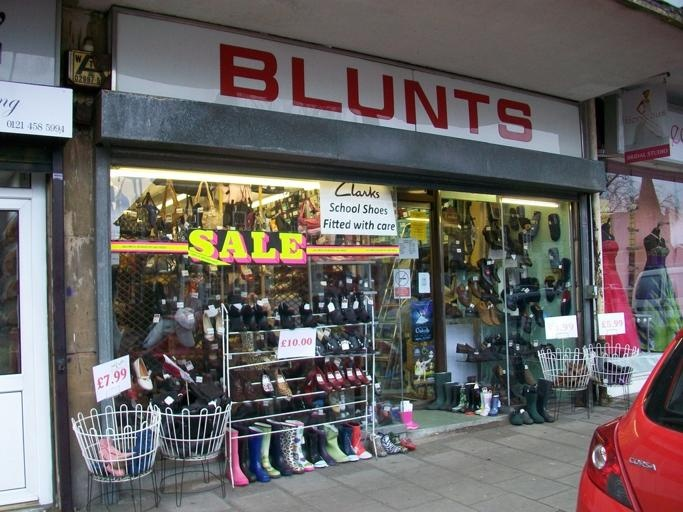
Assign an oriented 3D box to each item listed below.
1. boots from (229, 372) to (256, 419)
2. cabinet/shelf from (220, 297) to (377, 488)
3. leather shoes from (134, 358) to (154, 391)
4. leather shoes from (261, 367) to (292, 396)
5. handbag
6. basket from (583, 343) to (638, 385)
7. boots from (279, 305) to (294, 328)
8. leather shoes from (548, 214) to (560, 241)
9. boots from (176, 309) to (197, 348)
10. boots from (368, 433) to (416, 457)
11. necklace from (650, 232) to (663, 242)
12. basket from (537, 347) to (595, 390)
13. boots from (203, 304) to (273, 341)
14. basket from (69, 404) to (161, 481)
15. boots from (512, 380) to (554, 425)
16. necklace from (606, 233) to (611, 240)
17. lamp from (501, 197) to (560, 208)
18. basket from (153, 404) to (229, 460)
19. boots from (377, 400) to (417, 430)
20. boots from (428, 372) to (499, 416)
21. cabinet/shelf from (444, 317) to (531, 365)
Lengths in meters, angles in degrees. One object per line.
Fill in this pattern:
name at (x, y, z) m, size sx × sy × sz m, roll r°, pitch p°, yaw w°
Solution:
boots at (-1.167, 1.589, 6.955) m, size 0.194 × 0.240 × 0.556 m, roll -5°, pitch 23°, yaw -30°
cabinet/shelf at (-0.570, 1.629, 7.052) m, size 1.771 × 1.854 × 0.588 m, roll -2°, pitch -1°, yaw -35°
leather shoes at (-2.147, 1.327, 6.634) m, size 0.139 × 0.140 × 0.325 m, roll -4°, pitch 18°, yaw -26°
leather shoes at (-0.772, 1.507, 7.120) m, size 0.248 × 0.359 × 0.123 m, roll -16°, pitch -23°, yaw -39°
handbag at (-1.388, -0.514, 6.966) m, size 2.298 × 0.655 × 0.228 m, roll -1°, pitch 6°, yaw -23°
basket at (3.955, 1.592, 8.897) m, size 0.729 × 0.501 × 0.717 m, roll 13°, pitch -17°, yaw -31°
boots at (-0.662, 0.725, 7.251) m, size 0.119 × 0.342 × 0.146 m, roll -11°, pitch -15°, yaw -18°
leather shoes at (3.293, -0.426, 9.456) m, size 0.193 × 0.421 × 0.116 m, roll 1°, pitch -3°, yaw -39°
boots at (-1.748, 0.812, 6.831) m, size 0.235 × 0.389 × 0.132 m, roll -7°, pitch 0°, yaw -40°
boots at (0.569, 2.259, 7.416) m, size 0.654 × 0.299 × 0.231 m, roll -1°, pitch 2°, yaw -4°
necklace at (5.540, -0.318, 10.711) m, size 0.193 × 0.140 × 0.119 m, roll 3°, pitch -1°, yaw -20°
basket at (3.272, 1.606, 8.820) m, size 0.724 × 0.564 × 0.718 m, roll -4°, pitch 0°, yaw -22°
boots at (-1.188, 0.743, 6.983) m, size 0.586 × 0.414 × 0.215 m, roll -8°, pitch 18°, yaw -30°
basket at (-2.201, 1.843, 5.994) m, size 0.749 × 0.580 × 0.806 m, roll 1°, pitch 1°, yaw 13°
boots at (2.628, 2.013, 8.700) m, size 0.657 × 0.546 × 0.654 m, roll 0°, pitch 6°, yaw -8°
necklace at (4.474, -0.309, 10.219) m, size 0.057 × 0.080 × 0.023 m, roll -1°, pitch -8°, yaw -12°
lamp at (2.874, -0.800, 9.265) m, size 1.115 × 0.145 × 0.070 m, roll -2°, pitch 6°, yaw -26°
basket at (-1.529, 1.803, 6.341) m, size 0.733 × 0.523 × 0.745 m, roll 1°, pitch -5°, yaw 45°
boots at (0.719, 2.033, 7.773) m, size 0.637 × 0.357 × 0.260 m, roll -3°, pitch 7°, yaw -34°
boots at (1.758, 1.986, 8.688) m, size 0.392 × 0.560 × 1.271 m, roll 5°, pitch -11°, yaw -33°
cabinet/shelf at (2.158, 1.310, 9.167) m, size 0.977 × 0.340 × 0.773 m, roll 4°, pitch 2°, yaw 30°
